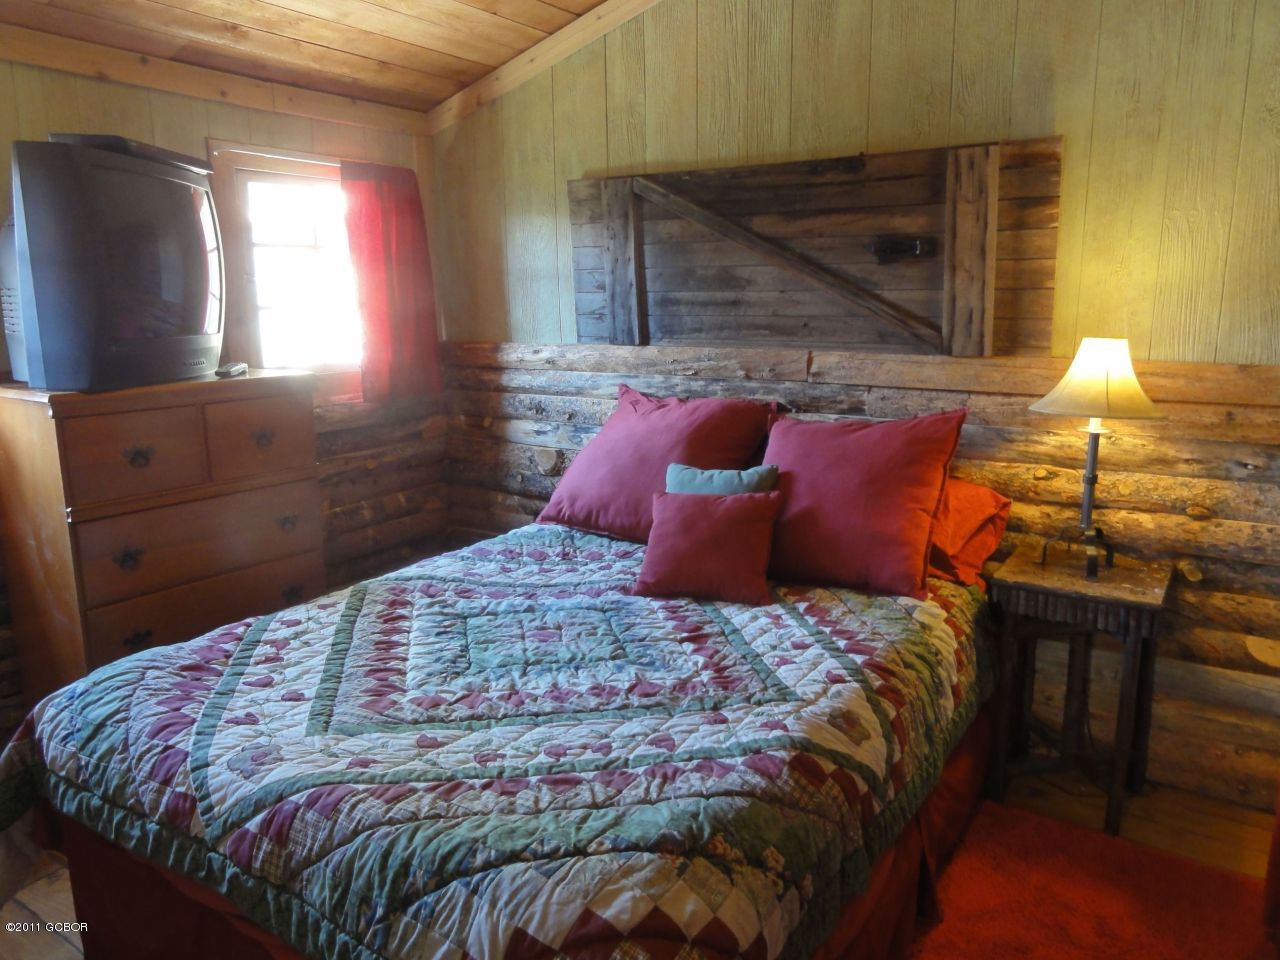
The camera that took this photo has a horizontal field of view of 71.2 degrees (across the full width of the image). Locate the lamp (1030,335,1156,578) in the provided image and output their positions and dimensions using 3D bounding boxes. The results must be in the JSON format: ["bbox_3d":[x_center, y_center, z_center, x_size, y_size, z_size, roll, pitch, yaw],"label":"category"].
[{"bbox_3d":[1.418,-0.081,2.854,0.335,0.724,0.395,5,16,23],"label":"lamp"}]

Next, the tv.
[{"bbox_3d":[-1.764,-0.740,3.096,0.274,0.820,0.684,7,17,30],"label":"tv"}]
